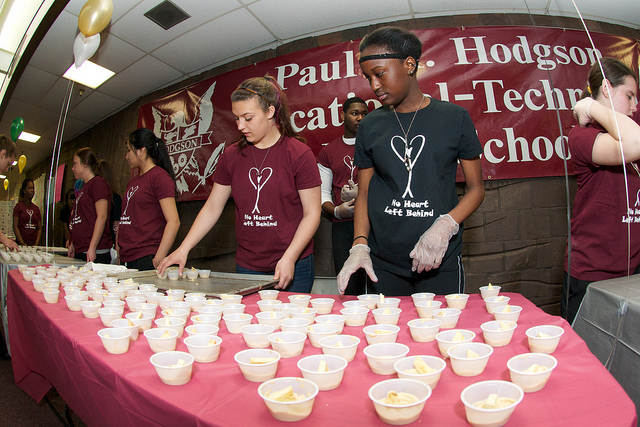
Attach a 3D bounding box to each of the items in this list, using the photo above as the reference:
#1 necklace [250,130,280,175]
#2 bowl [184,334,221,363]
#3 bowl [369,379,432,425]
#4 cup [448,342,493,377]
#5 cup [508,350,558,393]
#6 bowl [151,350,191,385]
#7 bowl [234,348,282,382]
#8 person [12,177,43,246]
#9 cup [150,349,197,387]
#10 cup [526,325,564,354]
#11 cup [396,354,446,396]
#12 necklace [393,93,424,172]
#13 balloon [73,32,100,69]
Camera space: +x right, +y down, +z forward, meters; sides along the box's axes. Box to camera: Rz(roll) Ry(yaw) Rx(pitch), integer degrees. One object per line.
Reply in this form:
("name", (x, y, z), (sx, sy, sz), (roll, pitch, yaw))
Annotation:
("necklace", (-0.356, -0.388, 2.457), (0.187, 0.283, 0.101), (-1, 1, -5))
("bowl", (-0.450, 0.502, 1.479), (0.103, 0.051, 0.104), (0, 4, 0))
("bowl", (0.265, 0.588, 1.235), (0.227, 0.116, 0.093), (-1, 1, -14))
("cup", (0.531, 0.495, 1.374), (0.112, 0.055, 0.118), (-9, 9, 1))
("cup", (0.716, 0.534, 1.317), (0.159, 0.109, 0.100), (-2, 2, -34))
("bowl", (-0.520, 0.556, 1.404), (0.129, 0.079, 0.134), (1, -1, 0))
("bowl", (-0.243, 0.539, 1.423), (0.141, 0.094, 0.170), (-1, 1, -27))
("person", (-4.768, -0.022, 6.296), (0.363, 1.060, 0.641), (-2, 1, -38))
("cup", (-0.531, 0.552, 1.399), (0.147, 0.078, 0.148), (1, 0, 0))
("cup", (0.849, 0.472, 1.472), (0.128, 0.071, 0.131), (-10, 0, 0))
("cup", (0.342, 0.517, 1.321), (0.123, 0.064, 0.125), (-2, -7, 0))
("necklace", (0.488, -0.437, 2.143), (0.158, 0.420, 0.112), (0, 1, 13))
("balloon", (-2.450, -1.713, 4.061), (0.198, 0.405, 0.449), (-2, 2, -40))
